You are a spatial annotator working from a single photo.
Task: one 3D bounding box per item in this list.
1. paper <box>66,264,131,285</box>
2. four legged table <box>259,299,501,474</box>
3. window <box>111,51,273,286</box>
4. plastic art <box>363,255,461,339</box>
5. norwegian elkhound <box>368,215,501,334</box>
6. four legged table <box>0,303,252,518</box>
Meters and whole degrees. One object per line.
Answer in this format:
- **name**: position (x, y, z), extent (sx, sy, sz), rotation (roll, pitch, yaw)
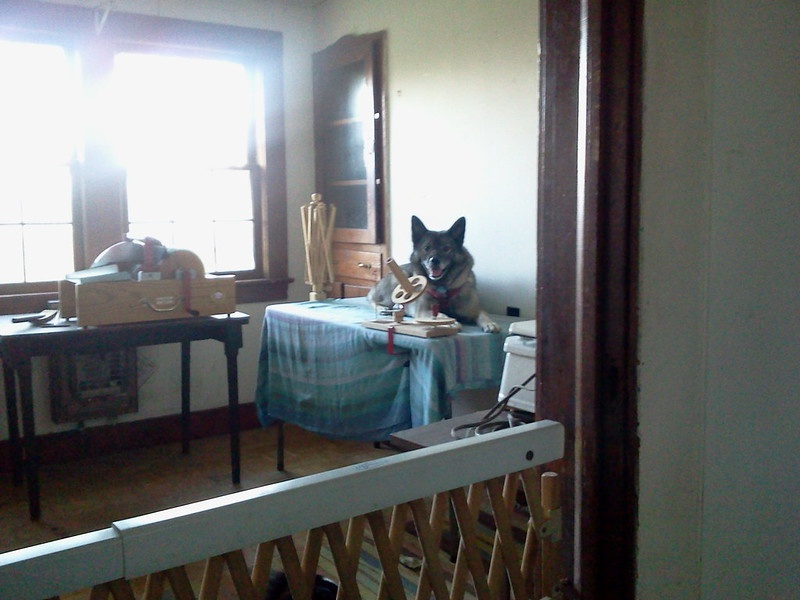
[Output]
- **paper**: position (-1.480, -0.127, 3.255), extent (0.330, 0.090, 0.151), rotation (-3, 5, -7)
- **four legged table**: position (0.047, 0.221, 3.401), extent (0.768, 0.513, 1.047), rotation (-4, 8, -40)
- **window**: position (-1.406, -0.905, 4.516), extent (0.936, 1.525, 0.051), rotation (-5, 5, -32)
- **plastic art**: position (0.047, -0.029, 3.094), extent (0.241, 0.338, 0.504), rotation (-3, 7, -40)
- **norwegian elkhound**: position (0.161, -0.168, 3.578), extent (0.494, 0.582, 0.954), rotation (-3, 10, -13)
- **four legged table**: position (-1.567, 0.374, 3.724), extent (1.323, 1.151, 0.985), rotation (-4, 5, -39)
